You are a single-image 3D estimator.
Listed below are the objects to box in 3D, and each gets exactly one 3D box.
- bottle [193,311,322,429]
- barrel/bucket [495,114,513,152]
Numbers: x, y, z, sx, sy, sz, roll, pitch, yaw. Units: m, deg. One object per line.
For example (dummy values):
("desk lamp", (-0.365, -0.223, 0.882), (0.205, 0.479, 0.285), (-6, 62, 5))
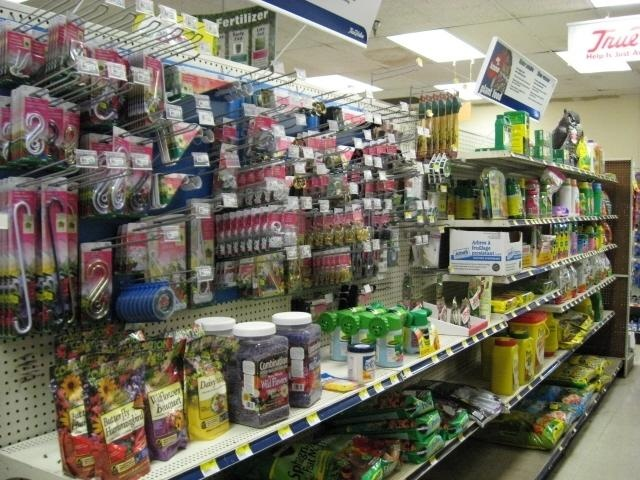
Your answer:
("bottle", (-0.226, 0.512, 2.046), (0.322, 0.404, 0.445), (8, 13, 42))
("barrel/bucket", (1.469, -0.867, 3.943), (0.115, 0.287, 0.395), (3, 11, 21))
